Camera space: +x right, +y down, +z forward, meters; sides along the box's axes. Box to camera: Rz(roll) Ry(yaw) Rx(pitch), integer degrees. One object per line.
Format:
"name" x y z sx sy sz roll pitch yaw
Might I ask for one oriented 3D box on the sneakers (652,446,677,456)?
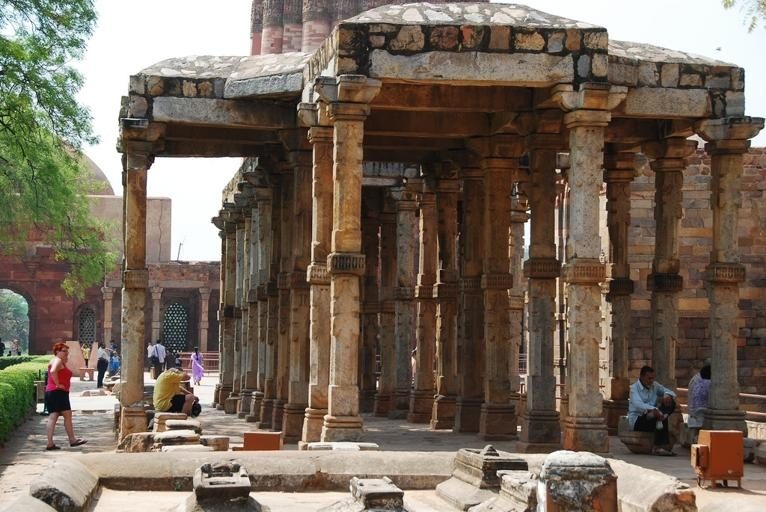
"sneakers" 4.542 3.122 20.468 0.385 0.131 0.283 5 -6 -28

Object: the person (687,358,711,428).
"person" 5.268 2.339 21.334 0.333 1.049 0.527 1 -5 12

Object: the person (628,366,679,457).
"person" 4.342 2.481 20.689 0.752 1.381 0.655 2 -5 5

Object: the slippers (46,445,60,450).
"slippers" -5.734 3.350 22.418 0.189 0.070 0.093 0 -2 -17

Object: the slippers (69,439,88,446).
"slippers" -5.383 3.313 22.765 0.273 0.098 0.094 -3 1 -10
